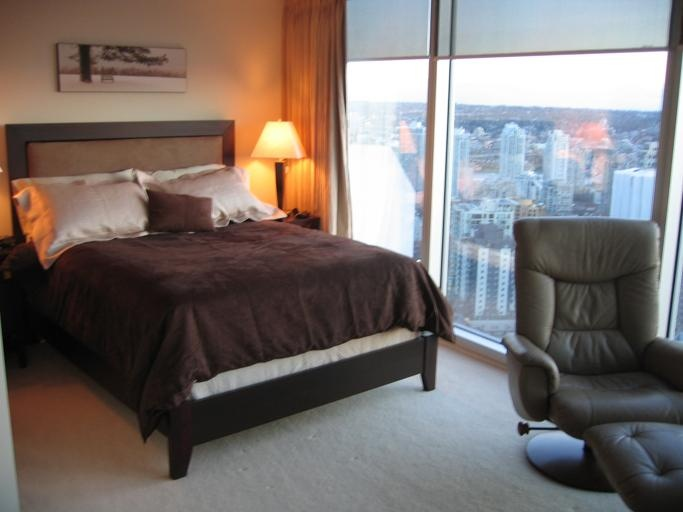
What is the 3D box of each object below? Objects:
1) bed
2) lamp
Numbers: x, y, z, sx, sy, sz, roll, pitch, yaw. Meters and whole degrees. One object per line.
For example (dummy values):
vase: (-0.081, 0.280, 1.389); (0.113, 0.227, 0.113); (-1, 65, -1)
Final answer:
bed: (-1.125, -0.170, 4.172); (2.197, 1.673, 3.166); (-11, 22, -33)
lamp: (-0.611, -0.816, 5.501); (0.540, 0.997, 0.529); (14, 25, 23)
